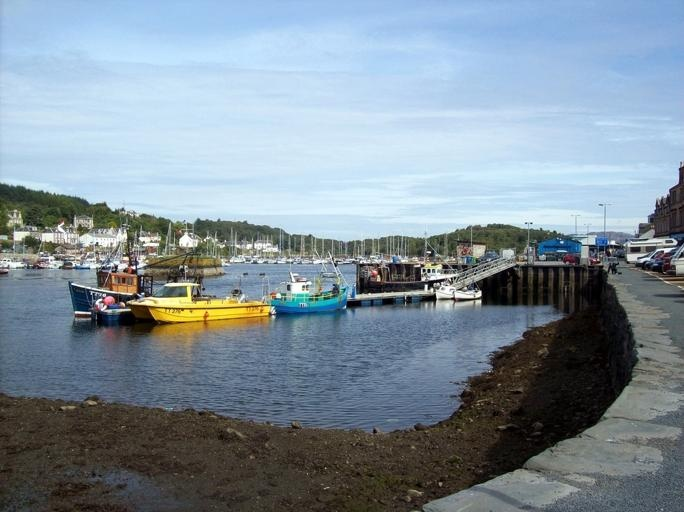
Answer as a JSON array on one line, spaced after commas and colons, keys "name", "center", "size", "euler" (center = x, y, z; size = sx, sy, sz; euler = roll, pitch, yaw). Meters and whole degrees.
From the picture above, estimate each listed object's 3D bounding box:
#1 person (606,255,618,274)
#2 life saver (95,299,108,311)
[{"name": "person", "center": [24.697, 0.754, 67.546], "size": [0.916, 1.930, 1.128], "euler": [-2, 7, 10]}, {"name": "life saver", "center": [-17.572, 3.552, 53.681], "size": [0.646, 0.275, 0.833], "euler": [-5, 16, -40]}]
